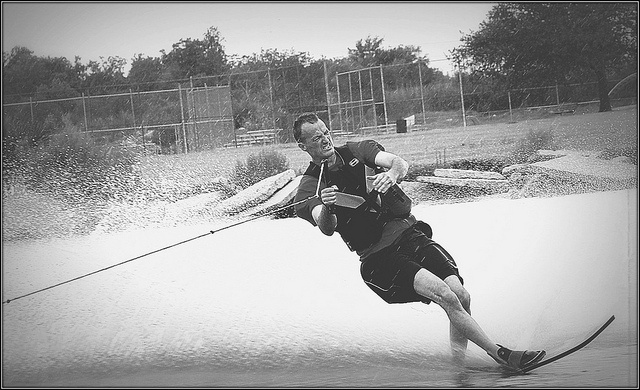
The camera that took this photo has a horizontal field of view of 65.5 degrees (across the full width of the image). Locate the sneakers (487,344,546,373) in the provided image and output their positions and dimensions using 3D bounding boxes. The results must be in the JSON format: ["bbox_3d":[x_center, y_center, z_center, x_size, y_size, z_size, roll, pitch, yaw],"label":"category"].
[{"bbox_3d":[1.771,1.440,4.447,0.523,0.187,0.208,-9,31,47],"label":"sneakers"}]
